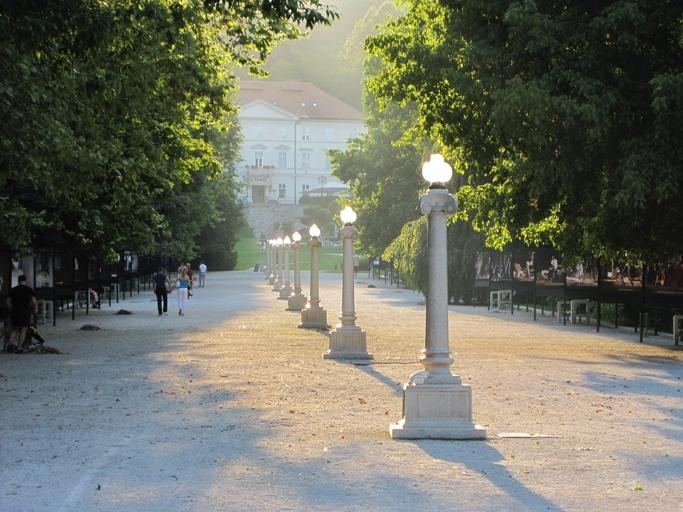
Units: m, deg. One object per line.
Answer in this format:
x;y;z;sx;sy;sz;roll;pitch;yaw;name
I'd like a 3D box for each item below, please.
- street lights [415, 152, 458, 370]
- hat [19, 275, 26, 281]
1.613;0.095;17.902;0.603;3.590;0.574;-1;-1;6;street lights
-7.573;0.522;25.392;0.122;0.159;0.159;2;6;-2;hat
